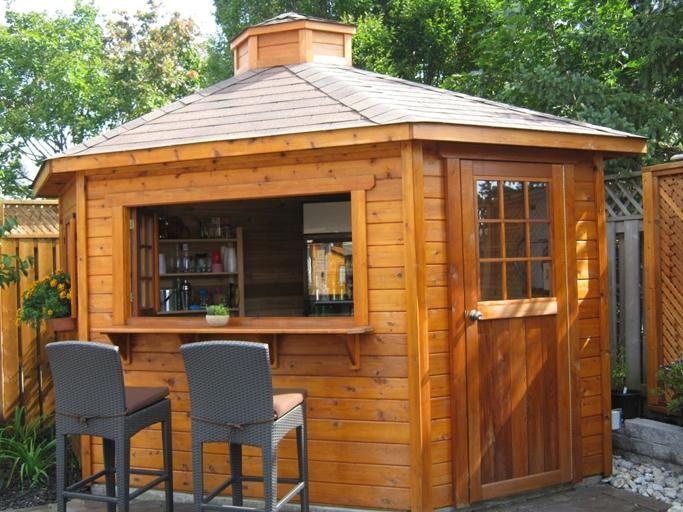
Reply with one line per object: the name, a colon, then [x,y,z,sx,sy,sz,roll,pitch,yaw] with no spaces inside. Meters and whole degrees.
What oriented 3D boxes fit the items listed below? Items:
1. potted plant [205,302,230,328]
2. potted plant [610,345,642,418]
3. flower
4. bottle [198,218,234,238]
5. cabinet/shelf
potted plant: [-1.212,0.593,6.693,0.241,0.176,0.221,1,-4,-14]
potted plant: [3.243,1.387,7.764,0.302,0.867,0.407,8,6,21]
flower: [-3.289,0.472,7.584,0.461,0.707,0.461,0,5,-39]
bottle: [-1.790,-0.413,9.840,0.393,0.257,0.285,0,0,7]
cabinet/shelf: [-1.983,0.224,9.429,1.346,1.242,0.419,-3,0,-22]
